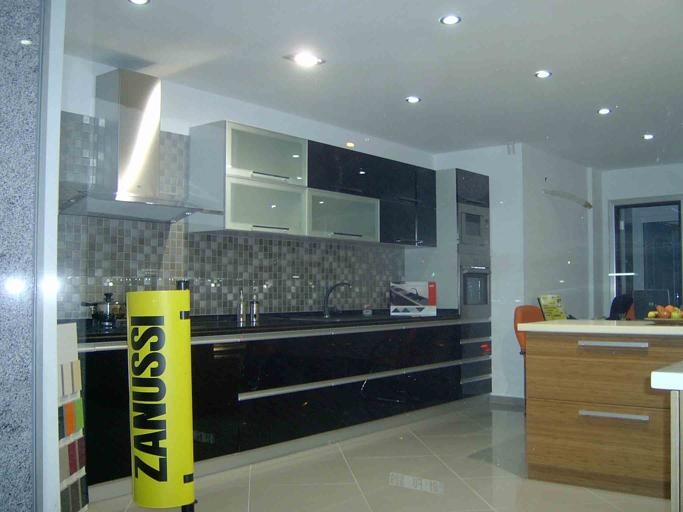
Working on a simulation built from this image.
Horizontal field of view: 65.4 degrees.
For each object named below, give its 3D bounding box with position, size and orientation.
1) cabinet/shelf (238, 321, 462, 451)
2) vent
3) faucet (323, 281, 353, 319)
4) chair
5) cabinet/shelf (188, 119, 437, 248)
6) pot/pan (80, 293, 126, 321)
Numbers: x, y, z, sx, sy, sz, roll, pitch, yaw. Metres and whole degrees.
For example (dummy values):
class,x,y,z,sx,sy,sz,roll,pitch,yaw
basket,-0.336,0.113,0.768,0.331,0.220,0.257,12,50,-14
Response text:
class,x,y,z,sx,sy,sz,roll,pitch,yaw
cabinet/shelf,0.041,1.090,5.053,2.651,0.902,0.804,2,-9,-39
vent,-1.527,-0.832,3.967,0.507,1.014,1.002,0,2,44
faucet,-0.058,0.432,5.425,0.251,0.318,0.556,4,-2,5
chair,1.774,0.900,4.842,0.448,0.744,0.438,2,15,18
cabinet/shelf,-0.059,-0.591,5.377,0.459,0.952,2.880,1,-1,45
pot/pan,-1.642,0.376,3.733,0.275,0.157,0.187,1,-1,17
